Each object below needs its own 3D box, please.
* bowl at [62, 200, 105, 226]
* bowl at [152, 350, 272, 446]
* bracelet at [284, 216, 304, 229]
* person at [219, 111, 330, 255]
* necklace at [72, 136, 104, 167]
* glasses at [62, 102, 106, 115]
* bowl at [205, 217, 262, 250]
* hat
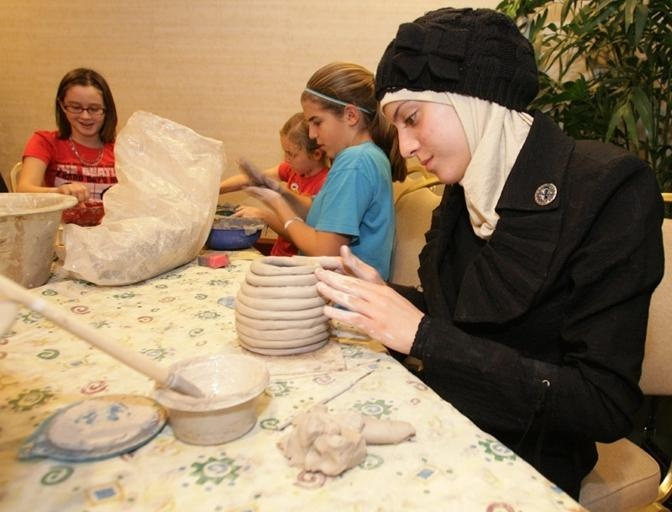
[{"bbox_3d":[-0.981,-0.164,1.924,0.107,0.073,0.108,0,9,0],"label":"bowl"},{"bbox_3d":[-0.279,0.325,1.142,0.241,0.124,0.251,1,10,0],"label":"bowl"},{"bbox_3d":[-0.195,-0.150,2.201,0.064,0.063,0.060,9,-9,-4],"label":"bracelet"},{"bbox_3d":[-0.319,-0.403,2.681,0.509,0.939,0.403,-20,46,-24],"label":"person"},{"bbox_3d":[-1.375,-0.573,2.746,0.182,0.176,0.044,-1,1,-16],"label":"necklace"},{"bbox_3d":[-1.313,-0.763,2.583,0.190,0.062,0.072,0,24,-20],"label":"glasses"},{"bbox_3d":[-0.472,-0.078,2.287,0.243,0.094,0.218,1,3,24],"label":"bowl"},{"bbox_3d":[0.349,-0.540,1.470,0.378,0.238,0.290,-1,11,-1],"label":"hat"}]
